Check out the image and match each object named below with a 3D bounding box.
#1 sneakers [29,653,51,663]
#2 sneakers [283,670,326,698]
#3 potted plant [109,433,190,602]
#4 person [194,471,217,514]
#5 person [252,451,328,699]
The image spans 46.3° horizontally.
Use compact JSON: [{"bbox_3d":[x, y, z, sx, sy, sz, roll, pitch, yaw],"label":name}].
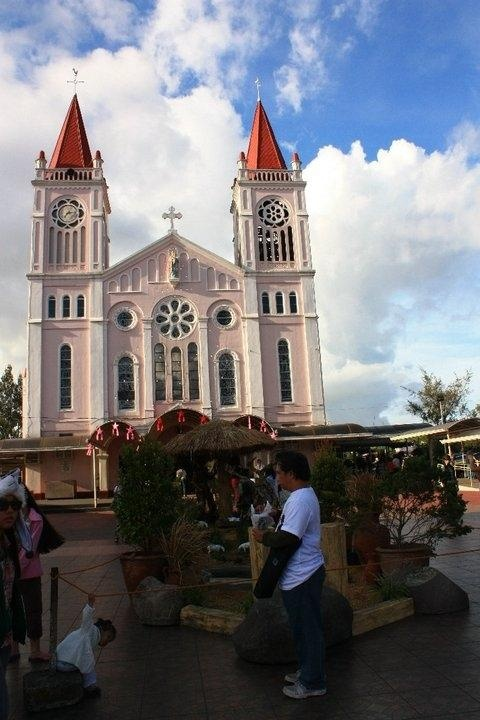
[{"bbox_3d":[-1.814,2.678,5.036,0.194,0.079,0.102,-6,-9,7],"label":"sneakers"},{"bbox_3d":[0.444,2.292,3.958,0.374,0.145,0.139,5,-9,-6],"label":"sneakers"},{"bbox_3d":[-1.273,2.088,7.821,0.895,1.970,0.981,-3,-9,-12],"label":"potted plant"},{"bbox_3d":[-0.938,3.694,15.648,0.555,1.235,0.470,-2,-10,-20],"label":"person"},{"bbox_3d":[0.351,1.521,4.063,0.522,1.684,0.498,-6,-9,6],"label":"person"}]
